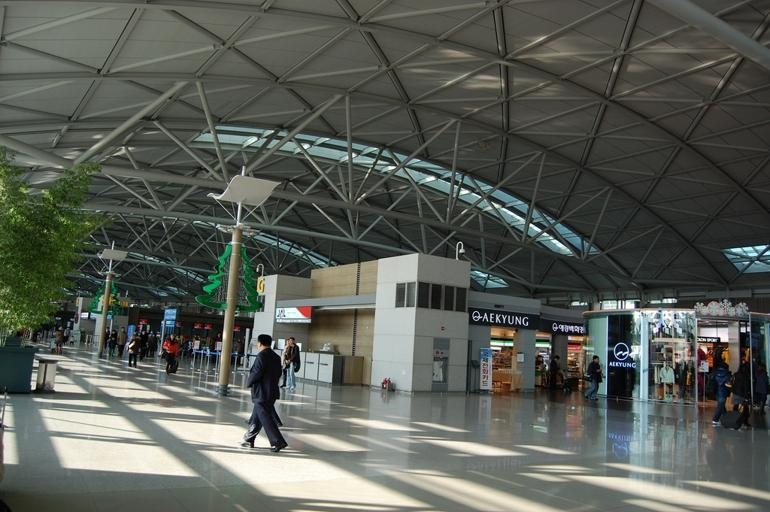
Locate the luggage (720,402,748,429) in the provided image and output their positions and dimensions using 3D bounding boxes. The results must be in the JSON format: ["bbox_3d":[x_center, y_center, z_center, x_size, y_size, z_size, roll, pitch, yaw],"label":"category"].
[{"bbox_3d":[13.001,5.910,19.959,1.070,0.976,0.560,10,-8,-38],"label":"luggage"}]

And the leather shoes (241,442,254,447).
[{"bbox_3d":[-3.376,4.630,13.155,0.352,0.111,0.128,-3,-14,31],"label":"leather shoes"}]

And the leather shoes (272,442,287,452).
[{"bbox_3d":[-2.579,4.603,12.919,0.286,0.228,0.183,7,-7,-18],"label":"leather shoes"}]

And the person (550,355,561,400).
[{"bbox_3d":[10.646,7.304,33.664,0.701,2.013,0.887,5,-7,18],"label":"person"}]

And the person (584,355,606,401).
[{"bbox_3d":[10.606,6.154,27.240,0.760,2.252,0.834,5,-7,19],"label":"person"}]
